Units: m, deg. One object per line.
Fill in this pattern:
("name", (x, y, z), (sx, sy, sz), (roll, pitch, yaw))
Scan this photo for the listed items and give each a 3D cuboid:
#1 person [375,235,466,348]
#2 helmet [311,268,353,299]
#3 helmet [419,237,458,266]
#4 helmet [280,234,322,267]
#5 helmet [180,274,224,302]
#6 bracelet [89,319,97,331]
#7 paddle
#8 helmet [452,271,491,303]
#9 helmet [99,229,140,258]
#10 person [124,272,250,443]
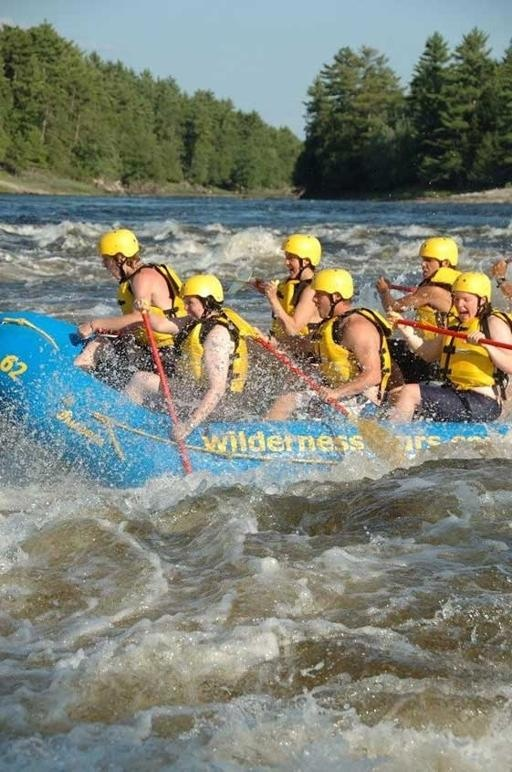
("person", (1.581, -0.711, 7.883), (0.944, 1.340, 0.758), (-3, 18, 0))
("helmet", (0.555, -0.733, 5.855), (0.297, 0.188, 0.205), (0, 16, -22))
("helmet", (1.809, -1.303, 7.904), (0.429, 0.260, 0.290), (5, -3, -5))
("helmet", (0.448, -1.216, 7.253), (0.376, 0.247, 0.264), (-8, 26, -16))
("helmet", (-0.374, -0.678, 5.674), (0.219, 0.179, 0.253), (-1, 5, -19))
("bracelet", (-1.145, -0.431, 5.834), (0.029, 0.066, 0.052), (7, -30, 2))
("paddle", (0.538, 0.153, 5.943), (1.760, 0.289, 0.093), (34, 18, 22))
("helmet", (1.605, -0.755, 6.081), (0.205, 0.183, 0.260), (15, -10, 31))
("helmet", (-1.031, -1.095, 6.315), (0.312, 0.199, 0.232), (7, -7, -11))
("person", (-0.452, -0.119, 5.868), (1.018, 1.290, 0.787), (1, 24, 2))
